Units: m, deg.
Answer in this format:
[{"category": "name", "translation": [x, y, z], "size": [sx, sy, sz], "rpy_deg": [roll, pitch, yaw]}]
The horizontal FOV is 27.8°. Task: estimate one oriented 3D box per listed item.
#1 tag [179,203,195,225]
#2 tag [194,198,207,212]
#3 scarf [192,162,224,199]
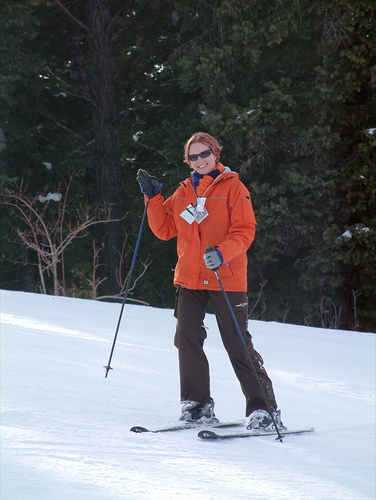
[{"category": "tag", "translation": [-0.009, -0.216, 4.613], "size": [0.014, 0.115, 0.092], "rpy_deg": [21, -56, -39]}, {"category": "tag", "translation": [0.070, -0.270, 4.576], "size": [0.093, 0.082, 0.014], "rpy_deg": [6, 0, 37]}, {"category": "scarf", "translation": [0.122, -0.434, 4.681], "size": [0.184, 0.212, 0.113], "rpy_deg": [2, -11, 22]}]
